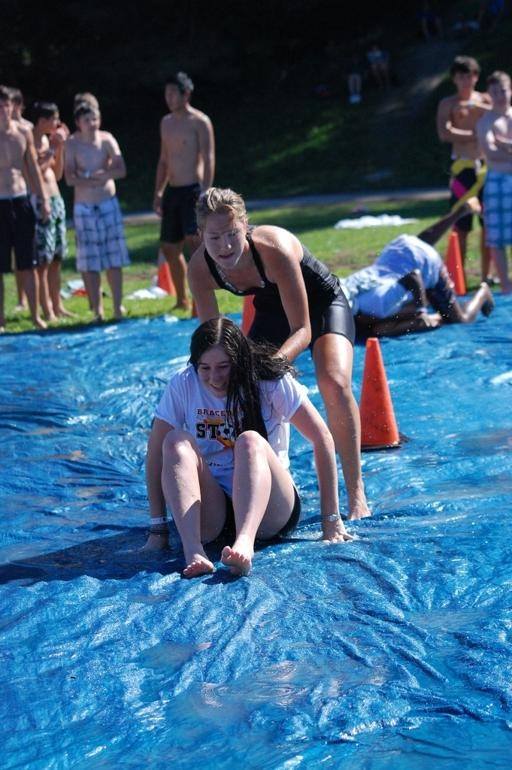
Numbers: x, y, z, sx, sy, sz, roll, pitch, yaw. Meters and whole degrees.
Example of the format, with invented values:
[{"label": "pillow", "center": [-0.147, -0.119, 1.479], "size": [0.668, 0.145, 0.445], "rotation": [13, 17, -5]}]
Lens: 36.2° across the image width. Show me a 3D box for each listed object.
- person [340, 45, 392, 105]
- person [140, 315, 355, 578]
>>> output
[{"label": "person", "center": [2.831, -7.767, 19.829], "size": [0.705, 1.270, 1.352], "rotation": [-9, 12, -28]}, {"label": "person", "center": [-0.077, 0.204, 2.623], "size": [0.714, 0.801, 0.902], "rotation": [-3, -1, 13]}]
